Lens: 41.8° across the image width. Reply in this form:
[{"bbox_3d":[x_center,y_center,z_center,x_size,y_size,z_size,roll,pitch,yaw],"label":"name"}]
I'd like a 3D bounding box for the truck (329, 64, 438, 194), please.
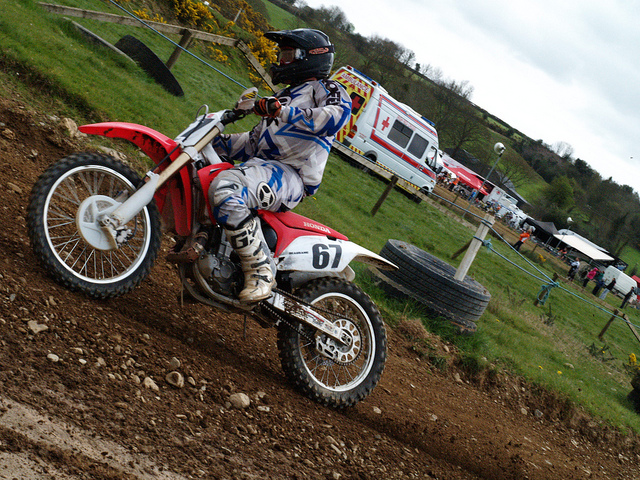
[{"bbox_3d":[2.418,-3.308,28.288,4.921,2.729,1.954,25,7,-43],"label":"truck"}]

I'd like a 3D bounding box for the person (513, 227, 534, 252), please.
[{"bbox_3d":[10.155,-0.053,41.865,0.354,0.411,1.164,29,44,14],"label":"person"}]

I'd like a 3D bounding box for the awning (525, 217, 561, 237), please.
[{"bbox_3d":[14.098,-0.824,52.852,1.762,0.661,1.333,18,4,30],"label":"awning"}]

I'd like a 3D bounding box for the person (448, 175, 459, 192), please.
[{"bbox_3d":[7.113,-3.027,44.073,0.287,0.898,0.547,34,8,7],"label":"person"}]

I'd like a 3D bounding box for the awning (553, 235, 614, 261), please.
[{"bbox_3d":[17.101,0.891,54.049,3.393,1.835,2.214,7,10,18],"label":"awning"}]

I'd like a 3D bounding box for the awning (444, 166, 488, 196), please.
[{"bbox_3d":[7.938,-3.301,45.054,2.181,0.695,2.773,37,9,5],"label":"awning"}]
